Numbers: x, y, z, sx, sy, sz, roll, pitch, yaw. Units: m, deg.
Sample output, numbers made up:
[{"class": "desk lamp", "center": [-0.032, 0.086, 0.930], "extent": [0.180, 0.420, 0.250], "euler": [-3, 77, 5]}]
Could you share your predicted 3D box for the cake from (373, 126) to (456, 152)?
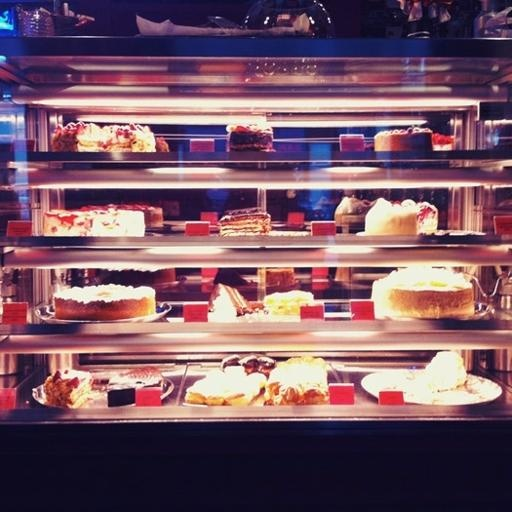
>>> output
[{"class": "cake", "center": [0.647, -0.482, 3.375], "extent": [0.318, 0.105, 0.444], "euler": [0, 9, 15]}]

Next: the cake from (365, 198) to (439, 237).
[{"class": "cake", "center": [0.591, -0.161, 3.363], "extent": [0.270, 0.167, 0.332], "euler": [0, 10, 17]}]
